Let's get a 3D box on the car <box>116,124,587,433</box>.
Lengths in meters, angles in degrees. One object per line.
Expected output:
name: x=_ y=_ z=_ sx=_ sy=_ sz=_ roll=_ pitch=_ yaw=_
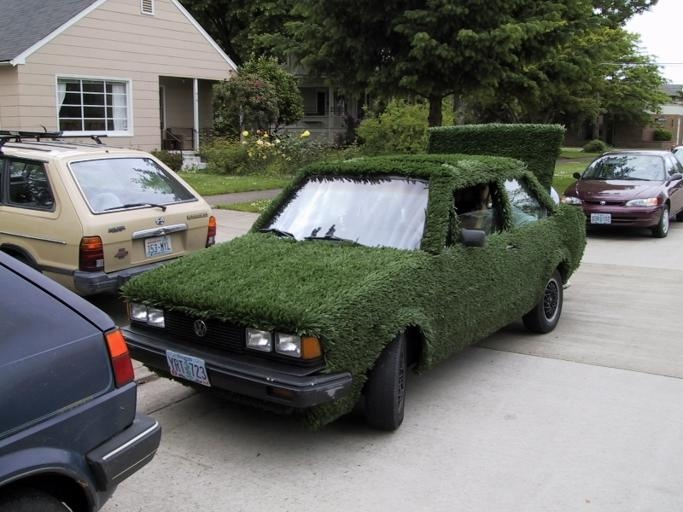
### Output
car: x=0.512 y=-0.050 z=5.272 sx=2.513 sy=1.681 sz=4.478 roll=10 pitch=15 yaw=40
